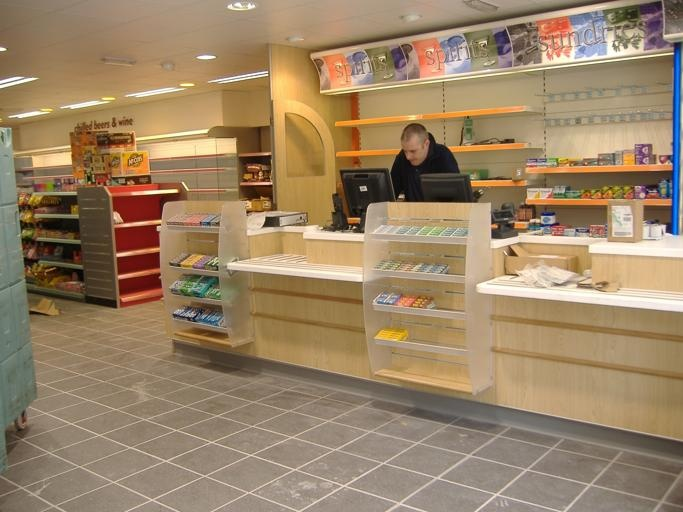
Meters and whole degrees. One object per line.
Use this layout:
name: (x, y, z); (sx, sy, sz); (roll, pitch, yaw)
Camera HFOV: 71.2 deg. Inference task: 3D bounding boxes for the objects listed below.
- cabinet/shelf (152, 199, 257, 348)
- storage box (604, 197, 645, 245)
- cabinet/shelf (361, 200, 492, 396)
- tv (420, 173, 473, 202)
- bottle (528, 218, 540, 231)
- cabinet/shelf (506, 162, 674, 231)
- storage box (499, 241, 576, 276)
cabinet/shelf: (-1.464, 0.210, 5.139); (1.128, 1.602, 0.624); (6, 15, 43)
storage box: (1.993, -0.246, 3.325); (0.276, 0.291, 0.167); (-3, 11, 7)
cabinet/shelf: (0.689, 0.334, 3.814); (0.931, 1.522, 0.490); (3, 13, 33)
tv: (0.861, -0.556, 3.911); (0.179, 0.239, 0.488); (-14, 14, -43)
bottle: (2.347, -0.375, 5.837); (0.239, 0.146, 0.108); (0, 4, 16)
cabinet/shelf: (2.939, -0.705, 5.620); (1.573, 0.785, 0.978); (2, 11, 28)
storage box: (1.512, 0.035, 3.721); (0.451, 0.228, 0.437); (5, 12, 39)
